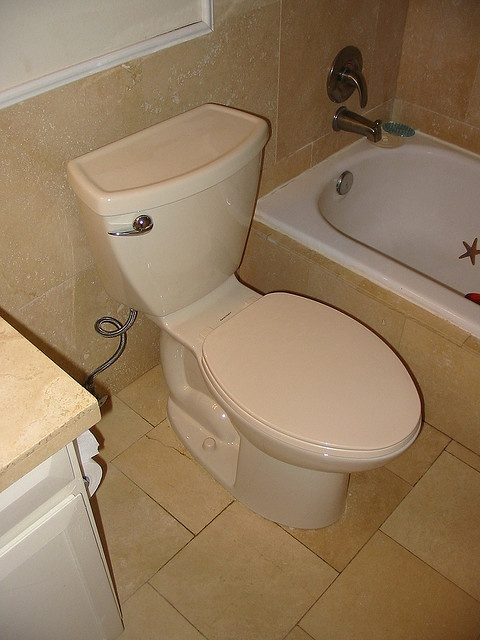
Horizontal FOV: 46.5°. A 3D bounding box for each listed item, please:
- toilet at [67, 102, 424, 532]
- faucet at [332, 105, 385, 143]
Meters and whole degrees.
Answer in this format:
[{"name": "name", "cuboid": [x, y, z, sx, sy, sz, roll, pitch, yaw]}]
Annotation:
[{"name": "toilet", "cuboid": [0.043, 0.077, 1.177, 0.418, 0.760, 0.710, -34, 52, -31]}, {"name": "faucet", "cuboid": [0.321, -0.542, 1.566, 0.146, 0.075, 0.089, 23, 63, 30]}]
